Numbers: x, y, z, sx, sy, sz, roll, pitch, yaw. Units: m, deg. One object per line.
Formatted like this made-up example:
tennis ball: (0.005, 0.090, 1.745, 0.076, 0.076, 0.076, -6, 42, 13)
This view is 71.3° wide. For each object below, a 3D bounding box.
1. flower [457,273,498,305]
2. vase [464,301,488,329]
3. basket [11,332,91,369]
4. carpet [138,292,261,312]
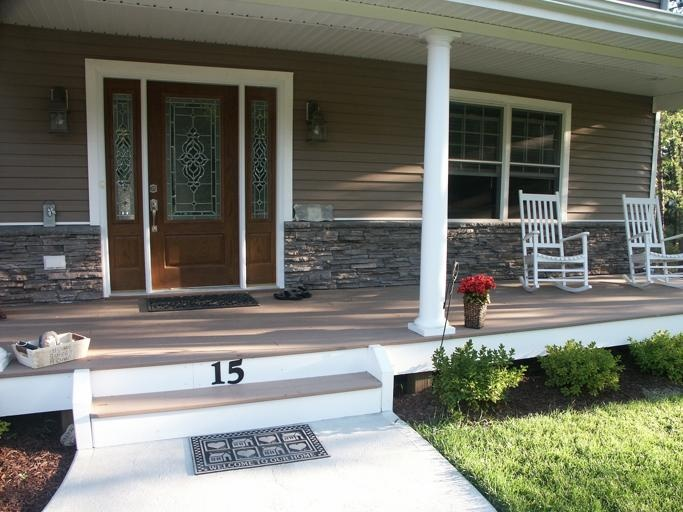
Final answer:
flower: (1.287, 0.268, 4.646, 0.395, 0.273, 0.339, 0, 0, 1)
vase: (1.265, 0.531, 4.658, 0.289, 0.253, 0.255, 1, -1, 6)
basket: (-2.184, 0.660, 3.604, 0.447, 0.158, 0.345, -8, 15, -42)
carpet: (-1.658, 0.462, 5.484, 1.236, 0.031, 0.792, -3, 11, -22)
